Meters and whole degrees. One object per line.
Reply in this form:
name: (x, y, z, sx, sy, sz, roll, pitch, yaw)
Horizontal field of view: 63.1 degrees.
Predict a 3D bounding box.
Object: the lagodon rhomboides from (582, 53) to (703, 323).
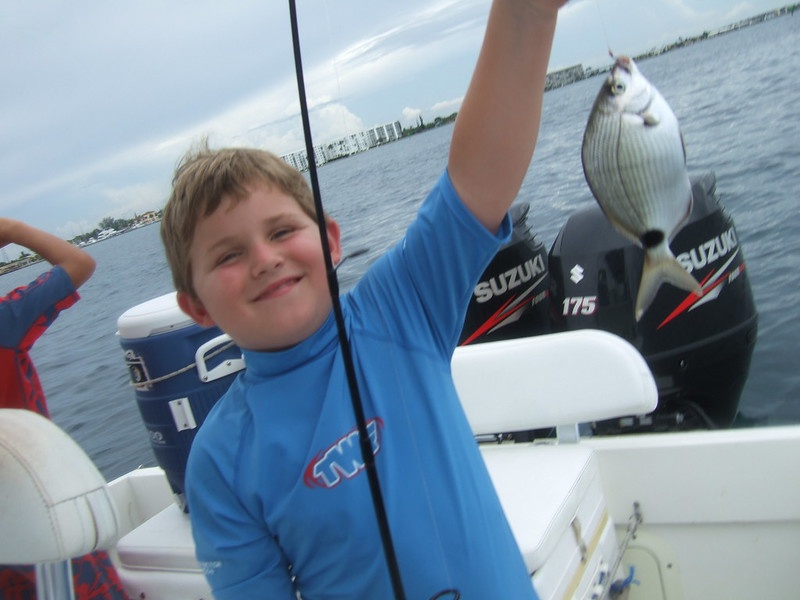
lagodon rhomboides: (0.546, -0.239, 1.492, 0.219, 0.564, 0.172, -9, 16, 15)
